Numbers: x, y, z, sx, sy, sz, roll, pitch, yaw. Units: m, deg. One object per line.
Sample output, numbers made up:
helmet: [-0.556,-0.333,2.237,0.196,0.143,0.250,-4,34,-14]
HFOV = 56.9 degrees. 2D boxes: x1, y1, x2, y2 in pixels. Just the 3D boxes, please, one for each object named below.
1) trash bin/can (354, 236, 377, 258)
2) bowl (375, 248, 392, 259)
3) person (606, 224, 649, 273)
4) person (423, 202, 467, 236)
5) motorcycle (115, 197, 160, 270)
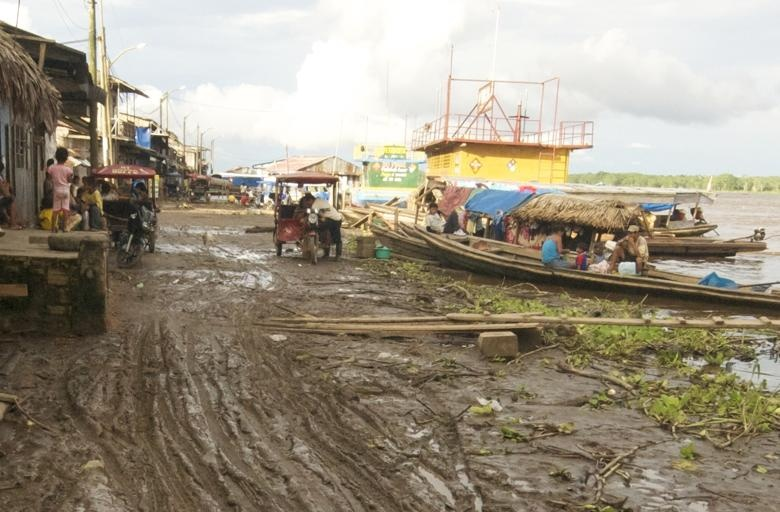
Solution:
trash bin/can: [-0.741,-0.283,22.096,0.591,0.707,1.030,0,4,-11]
bowl: [-0.205,-0.057,21.828,0.372,0.236,0.373,-2,0,0]
person: [6.036,-0.128,18.113,1.132,1.124,0.918,-4,13,4]
person: [1.928,-1.127,22.721,1.652,0.995,0.810,2,7,6]
motorcycle: [-6.474,-0.666,18.435,0.768,1.528,2.338,2,11,-10]
